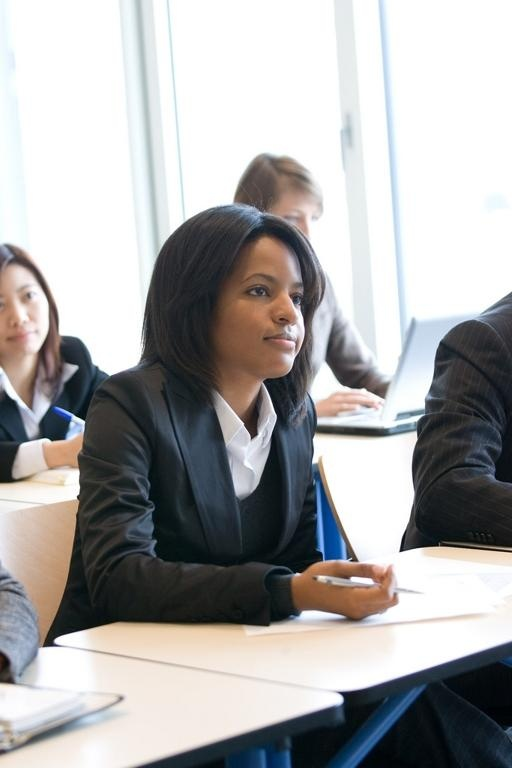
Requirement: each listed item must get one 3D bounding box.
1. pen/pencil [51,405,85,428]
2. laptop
[{"bbox_3d":[-0.664,0.111,2.254,0.133,0.021,0.021,33,9,-40],"label":"pen/pencil"},{"bbox_3d":[0.494,-0.029,2.303,0.437,0.359,0.512,3,8,39],"label":"laptop"}]
